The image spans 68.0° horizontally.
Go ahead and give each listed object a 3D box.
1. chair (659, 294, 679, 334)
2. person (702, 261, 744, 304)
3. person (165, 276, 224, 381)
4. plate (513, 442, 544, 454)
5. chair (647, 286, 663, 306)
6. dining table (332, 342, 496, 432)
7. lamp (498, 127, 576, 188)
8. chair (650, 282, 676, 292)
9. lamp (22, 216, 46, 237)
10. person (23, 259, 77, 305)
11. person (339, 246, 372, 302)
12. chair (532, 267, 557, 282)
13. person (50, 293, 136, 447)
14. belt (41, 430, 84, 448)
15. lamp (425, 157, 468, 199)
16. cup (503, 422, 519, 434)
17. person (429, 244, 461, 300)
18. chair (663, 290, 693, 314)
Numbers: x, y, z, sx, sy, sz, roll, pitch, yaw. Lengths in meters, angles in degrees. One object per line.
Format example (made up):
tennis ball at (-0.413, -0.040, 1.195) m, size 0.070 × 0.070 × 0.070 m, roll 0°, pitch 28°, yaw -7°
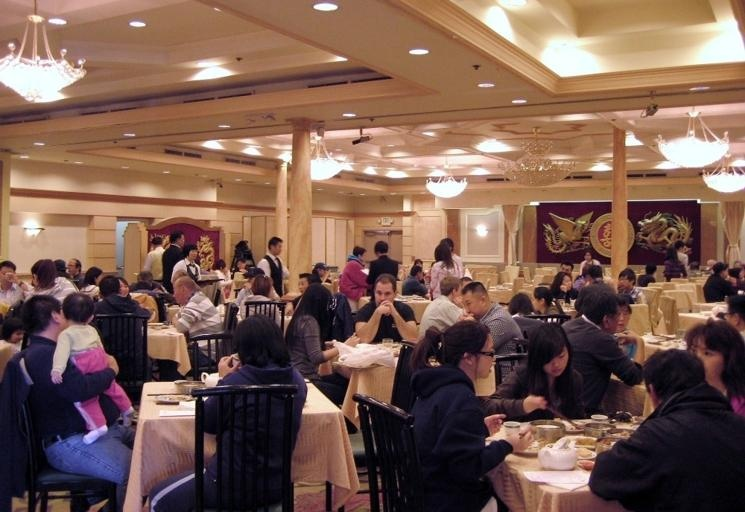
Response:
chair at (4.515, 0.888, 8.357) m, size 0.235 × 0.556 × 0.400 m, roll -1°, pitch -2°, yaw 26°
person at (5.363, 0.403, 8.524) m, size 0.396 × 0.623 × 0.979 m, roll -1°, pitch -2°, yaw 30°
person at (-1.944, 0.802, 5.973) m, size 0.689 × 1.121 × 0.519 m, roll 0°, pitch -4°, yaw -8°
plate at (0.810, 0.981, 2.797) m, size 0.085 × 0.011 × 0.086 m, roll -12°, pitch -5°, yaw 43°
chair at (4.703, 0.656, 9.163) m, size 0.284 × 0.295 × 0.250 m, roll 4°, pitch -8°, yaw -16°
dining table at (0.225, 0.962, 4.605) m, size 0.999 × 0.338 × 0.965 m, roll 5°, pitch -7°, yaw -15°
lamp at (3.500, -2.020, 11.797) m, size 1.355 × 0.988 × 1.304 m, roll 2°, pitch -6°, yaw -23°
chair at (5.579, 0.570, 10.556) m, size 0.444 × 0.309 × 0.444 m, roll 0°, pitch 0°, yaw 31°
lamp at (-7.182, -0.623, 11.623) m, size 0.092 × 0.342 × 0.377 m, roll 0°, pitch -4°, yaw 26°
person at (-3.602, 0.277, 6.200) m, size 0.437 × 0.734 × 0.337 m, roll 23°, pitch 23°, yaw 35°
person at (-0.232, 0.378, 7.118) m, size 0.350 × 1.005 × 0.488 m, roll 1°, pitch 20°, yaw -14°
chair at (4.794, 0.499, 15.255) m, size 0.406 × 0.491 × 0.381 m, roll 7°, pitch -8°, yaw -42°
person at (-1.765, 0.696, 3.479) m, size 0.419 × 0.939 × 0.462 m, roll -6°, pitch -6°, yaw 21°
belt at (-1.896, 1.093, 3.351) m, size 0.175 × 0.050 × 0.128 m, roll -8°, pitch 3°, yaw 12°
lamp at (2.141, -2.323, 15.921) m, size 1.161 × 1.423 × 1.114 m, roll 3°, pitch -9°, yaw -8°
cup at (0.725, 0.886, 2.850) m, size 0.062 × 0.028 × 0.060 m, roll 0°, pitch -9°, yaw 0°
person at (1.034, 0.259, 8.229) m, size 0.298 × 0.891 × 0.332 m, roll -9°, pitch 28°, yaw 3°
chair at (5.082, 0.765, 9.164) m, size 0.394 × 0.436 × 0.390 m, roll 1°, pitch -7°, yaw -4°
